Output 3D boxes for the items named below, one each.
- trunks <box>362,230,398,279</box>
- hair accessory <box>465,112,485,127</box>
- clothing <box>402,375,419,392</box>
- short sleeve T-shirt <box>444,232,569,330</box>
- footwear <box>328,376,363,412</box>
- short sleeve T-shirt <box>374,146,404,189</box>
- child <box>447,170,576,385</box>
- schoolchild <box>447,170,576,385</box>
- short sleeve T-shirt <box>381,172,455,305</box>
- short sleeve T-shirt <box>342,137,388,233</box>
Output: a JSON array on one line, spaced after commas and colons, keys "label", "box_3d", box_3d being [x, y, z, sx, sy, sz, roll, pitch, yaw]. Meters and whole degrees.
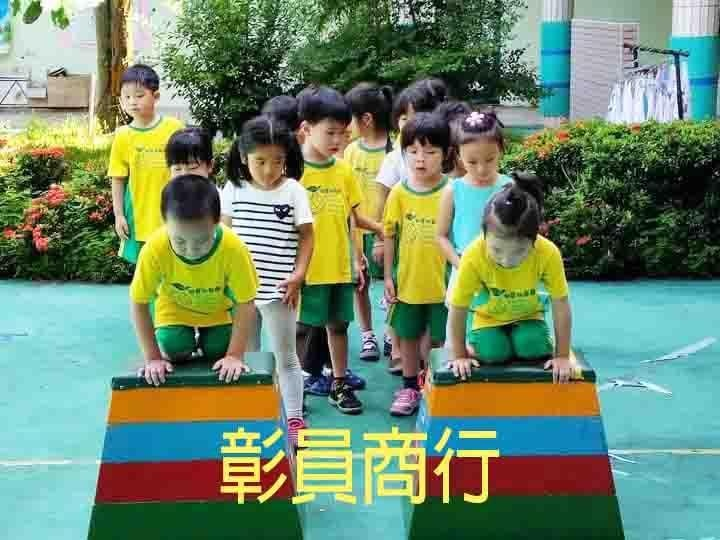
[{"label": "trunks", "box_3d": [0.122, -0.090, 4.339, 0.213, 0.293, 0.164, 15, -34, -41]}, {"label": "hair accessory", "box_3d": [0.545, -0.725, 3.427, 0.079, 0.024, 0.080, -17, 39, 35]}, {"label": "clothing", "box_3d": [0.286, 0.643, 4.112, 0.095, 0.092, 0.056, -3, 5, -39]}, {"label": "short sleeve T-shirt", "box_3d": [0.645, 0.064, 3.028, 0.491, 0.399, 0.241, -2, 4, 34]}, {"label": "footwear", "box_3d": [-0.089, 0.708, 4.146, 0.098, 0.122, 0.265, -3, 8, -26]}, {"label": "short sleeve T-shirt", "box_3d": [0.184, -0.617, 4.346, 0.153, 0.250, 0.094, 4, 9, 9]}, {"label": "child", "box_3d": [0.586, -0.002, 2.961, 0.479, 0.802, 0.481, -6, 17, -9]}, {"label": "schoolchild", "box_3d": [0.572, 0.015, 2.948, 0.514, 0.785, 0.534, -6, 17, -8]}, {"label": "short sleeve T-shirt", "box_3d": [0.345, -0.169, 4.058, 0.417, 0.708, 0.240, -3, 19, -4]}, {"label": "short sleeve T-shirt", "box_3d": [0.026, -0.576, 4.745, 0.324, 0.598, 0.169, 8, 33, -2]}]
